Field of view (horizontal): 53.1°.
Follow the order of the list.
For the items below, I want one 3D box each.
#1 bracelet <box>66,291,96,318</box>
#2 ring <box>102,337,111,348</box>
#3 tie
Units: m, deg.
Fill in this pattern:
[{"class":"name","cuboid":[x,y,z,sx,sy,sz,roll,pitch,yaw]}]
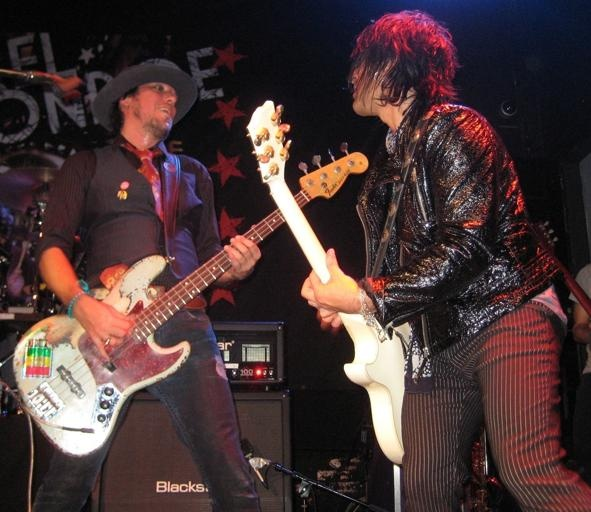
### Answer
[{"class":"bracelet","cuboid":[-0.940,0.220,2.606,0.093,0.125,0.033,38,2,16]},{"class":"ring","cuboid":[-0.809,0.370,2.535,0.023,0.043,0.011,5,49,-22]},{"class":"tie","cuboid":[-0.723,-0.384,2.909,0.181,0.057,0.436,17,45,-41]}]
